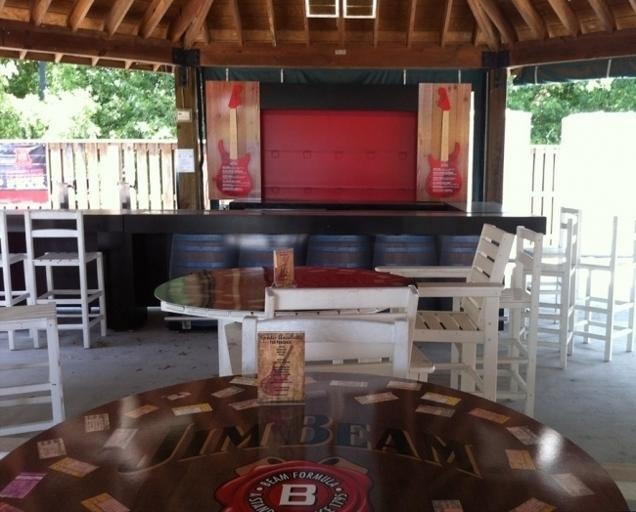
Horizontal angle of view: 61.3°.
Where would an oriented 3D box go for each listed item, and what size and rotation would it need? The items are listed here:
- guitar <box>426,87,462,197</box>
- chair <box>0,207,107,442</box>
[{"bbox_3d":[1.702,-1.507,7.152,0.438,1.456,0.180,1,14,9],"label":"guitar"},{"bbox_3d":[-1.789,0.421,3.643,0.570,0.998,1.415,-2,11,-15],"label":"chair"}]
